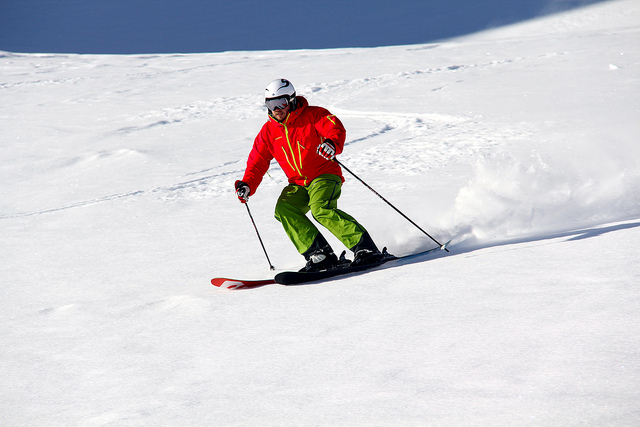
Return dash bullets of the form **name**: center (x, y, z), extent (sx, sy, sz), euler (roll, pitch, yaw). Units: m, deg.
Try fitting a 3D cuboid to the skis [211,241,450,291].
- **skis**: center (0.203, 0.634, 8.924), extent (3.658, 0.168, 0.284), euler (-5, 14, 0)
